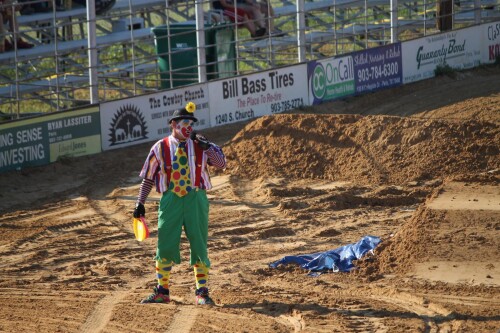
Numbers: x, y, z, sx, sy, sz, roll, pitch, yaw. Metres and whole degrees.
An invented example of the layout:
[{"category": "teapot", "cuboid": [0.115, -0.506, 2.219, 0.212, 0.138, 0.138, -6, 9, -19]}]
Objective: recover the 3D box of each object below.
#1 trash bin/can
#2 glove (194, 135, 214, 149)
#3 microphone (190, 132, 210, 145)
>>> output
[{"category": "trash bin/can", "cuboid": [-2.005, -4.083, 45.937, 3.017, 2.310, 2.798, -6, 8, 12]}, {"category": "glove", "cuboid": [-1.252, -0.693, 34.081, 0.428, 0.142, 0.316, 38, 29, 12]}, {"category": "microphone", "cuboid": [-1.346, -0.746, 34.120, 0.470, 0.188, 0.268, 25, 26, -1]}]
